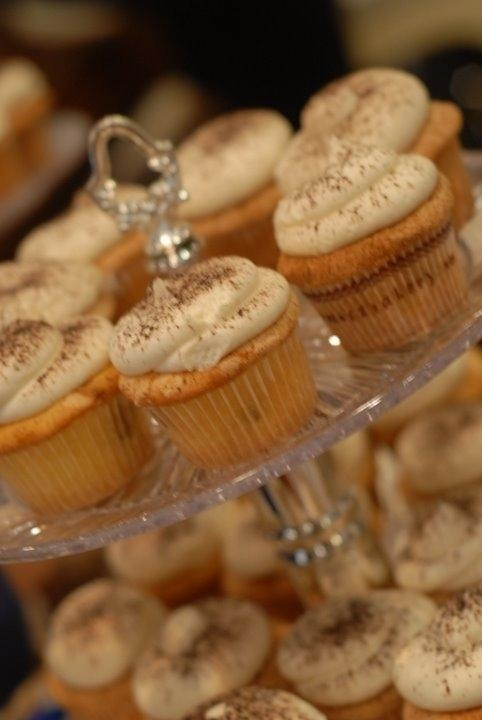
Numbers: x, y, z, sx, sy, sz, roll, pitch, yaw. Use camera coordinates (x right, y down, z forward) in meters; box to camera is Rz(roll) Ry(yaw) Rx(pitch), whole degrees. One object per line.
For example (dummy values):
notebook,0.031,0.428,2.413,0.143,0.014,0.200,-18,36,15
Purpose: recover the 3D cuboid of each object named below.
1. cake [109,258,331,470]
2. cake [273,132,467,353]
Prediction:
cake,-0.017,0.008,0.856,0.217,0.178,0.219,-19,19,35
cake,0.143,-0.148,0.923,0.225,0.206,0.235,-35,24,2
